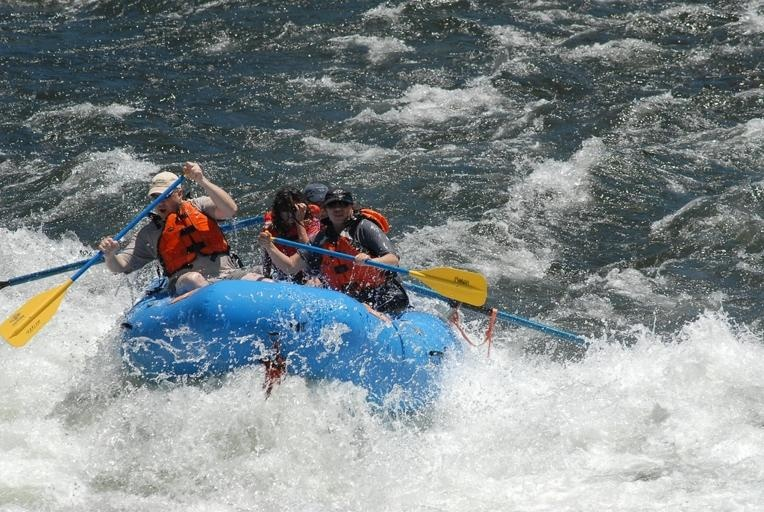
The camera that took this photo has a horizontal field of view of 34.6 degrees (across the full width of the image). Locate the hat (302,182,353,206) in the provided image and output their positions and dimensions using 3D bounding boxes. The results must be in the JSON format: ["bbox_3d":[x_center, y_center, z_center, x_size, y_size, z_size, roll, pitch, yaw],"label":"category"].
[{"bbox_3d":[-0.783,-0.810,16.719,0.581,0.148,0.344,10,-10,-30],"label":"hat"}]

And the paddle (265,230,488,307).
[{"bbox_3d":[-0.168,0.207,16.591,3.699,0.275,0.524,11,67,-3],"label":"paddle"}]
